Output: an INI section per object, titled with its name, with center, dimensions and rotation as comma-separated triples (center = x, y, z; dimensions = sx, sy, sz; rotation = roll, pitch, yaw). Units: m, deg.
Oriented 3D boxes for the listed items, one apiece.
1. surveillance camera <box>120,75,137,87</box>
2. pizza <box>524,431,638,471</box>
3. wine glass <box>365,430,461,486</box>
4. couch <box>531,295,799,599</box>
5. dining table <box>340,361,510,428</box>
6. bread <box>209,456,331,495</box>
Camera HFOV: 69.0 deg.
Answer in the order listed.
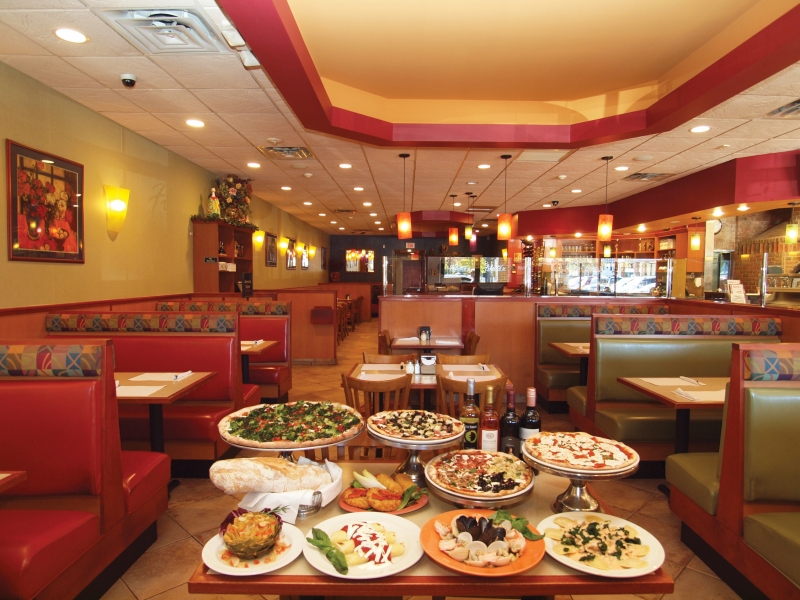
[surveillance camera]
center = -2.483, -1.996, 5.335
dimensions = 0.121, 0.061, 0.111
rotation = -1, 2, -34
[pizza]
center = 0.936, 0.800, 3.086
dimensions = 0.496, 0.042, 0.464
rotation = 12, 12, 19
[wine glass]
center = 0.076, 0.859, 3.143
dimensions = 0.464, 0.217, 0.403
rotation = -1, -9, 16
[couch]
center = 1.906, 1.014, 4.023
dimensions = 1.423, 1.300, 2.315
rotation = 1, 3, 2
[dining table]
center = 0.262, 0.623, 4.558
dimensions = 1.293, 0.446, 0.597
rotation = 0, 13, 2
[bread]
center = -0.636, 0.862, 2.890
dimensions = 0.497, 0.096, 0.242
rotation = 6, -2, -13
